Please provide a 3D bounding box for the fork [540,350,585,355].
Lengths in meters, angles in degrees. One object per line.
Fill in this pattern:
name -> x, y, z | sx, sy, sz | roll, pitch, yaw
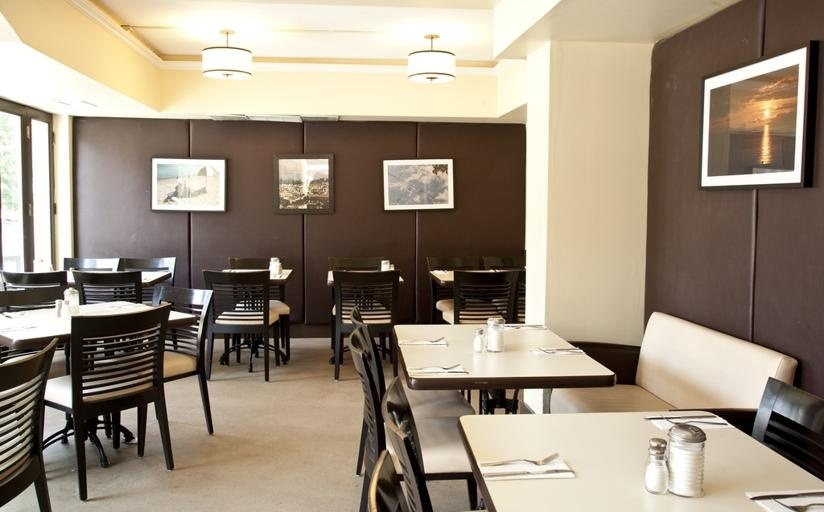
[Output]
fork -> 1.033, 0.660, 4.043 | 0.308, 0.018, 0.091 | 0, 10, -2

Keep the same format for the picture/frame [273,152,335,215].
picture/frame -> -1.561, -1.059, 8.213 | 0.938, 0.863, 0.058 | 0, 2, -5

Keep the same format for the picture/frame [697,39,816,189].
picture/frame -> 2.334, -0.918, 3.959 | 0.169, 0.924, 0.850 | -3, 12, -18

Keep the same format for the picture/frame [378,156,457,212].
picture/frame -> 0.041, -1.048, 8.317 | 0.854, 0.562, 0.037 | -1, 3, -1

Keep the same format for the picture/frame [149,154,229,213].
picture/frame -> -3.144, -1.023, 8.109 | 0.884, 0.593, 0.032 | 0, 6, -3

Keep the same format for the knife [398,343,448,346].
knife -> 0.075, 0.627, 4.164 | 0.322, 0.012, 0.058 | 0, 10, -5

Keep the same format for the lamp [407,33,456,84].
lamp -> 0.235, -2.262, 6.780 | 0.576, 0.527, 0.561 | -1, 3, -29

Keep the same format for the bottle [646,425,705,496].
bottle -> 1.283, 0.970, 2.801 | 0.319, 0.322, 0.155 | 1, 12, 4

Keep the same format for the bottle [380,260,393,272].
bottle -> -0.290, 0.123, 7.444 | 0.133, 0.127, 0.183 | 0, -1, 44

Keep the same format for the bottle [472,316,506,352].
bottle -> 0.541, 0.544, 4.100 | 0.208, 0.211, 0.228 | 2, 11, 8

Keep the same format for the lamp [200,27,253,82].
lamp -> -2.044, -2.160, 6.583 | 0.634, 0.523, 0.635 | 0, 4, -4

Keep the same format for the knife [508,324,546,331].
knife -> 0.887, 0.559, 4.574 | 0.301, 0.014, 0.083 | 1, 10, 0
